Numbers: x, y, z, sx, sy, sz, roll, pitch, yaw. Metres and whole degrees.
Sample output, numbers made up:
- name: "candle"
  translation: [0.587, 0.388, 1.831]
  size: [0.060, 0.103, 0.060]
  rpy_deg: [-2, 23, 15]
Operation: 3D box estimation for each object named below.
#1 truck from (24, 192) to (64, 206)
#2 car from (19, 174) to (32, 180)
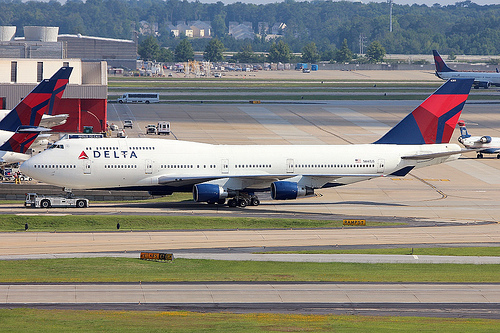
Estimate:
- name: "truck"
  translation: [-24.335, 3.852, 112.666]
  size: [3.805, 0.774, 1.825]
  rpy_deg: [1, 2, -5]
- name: "car"
  translation: [-28.334, 1.323, 120.559]
  size: [2.443, 0.662, 1.004]
  rpy_deg: [0, 5, -10]
